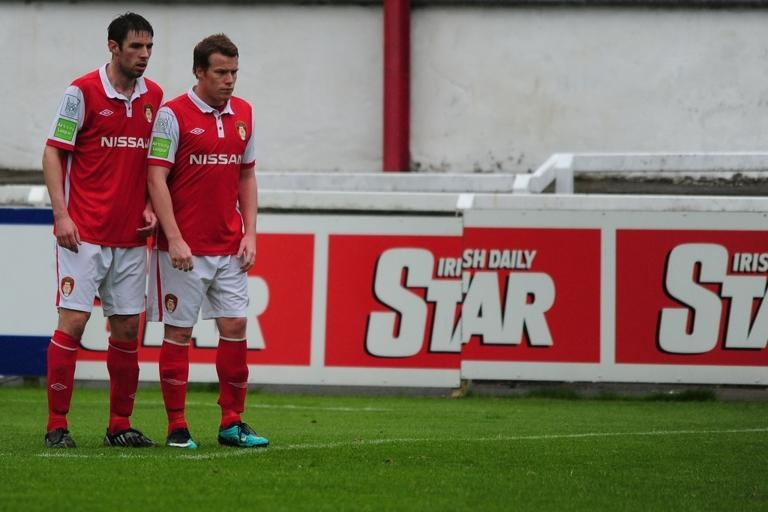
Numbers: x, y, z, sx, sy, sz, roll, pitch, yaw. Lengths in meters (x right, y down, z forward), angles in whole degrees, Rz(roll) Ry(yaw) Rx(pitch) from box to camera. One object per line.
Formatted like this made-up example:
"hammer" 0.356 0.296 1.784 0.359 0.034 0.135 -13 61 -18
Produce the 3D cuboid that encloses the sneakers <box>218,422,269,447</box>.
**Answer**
"sneakers" -1.198 1.542 13.009 0.434 0.182 0.182 1 -2 3

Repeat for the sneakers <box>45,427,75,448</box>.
"sneakers" -2.737 1.555 12.852 0.139 0.111 0.248 2 -12 -22

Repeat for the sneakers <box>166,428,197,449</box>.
"sneakers" -1.706 1.540 12.893 0.260 0.177 0.179 0 2 -9

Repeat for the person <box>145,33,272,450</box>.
"person" -1.510 -0.122 12.937 0.967 3.480 0.335 0 2 -9
